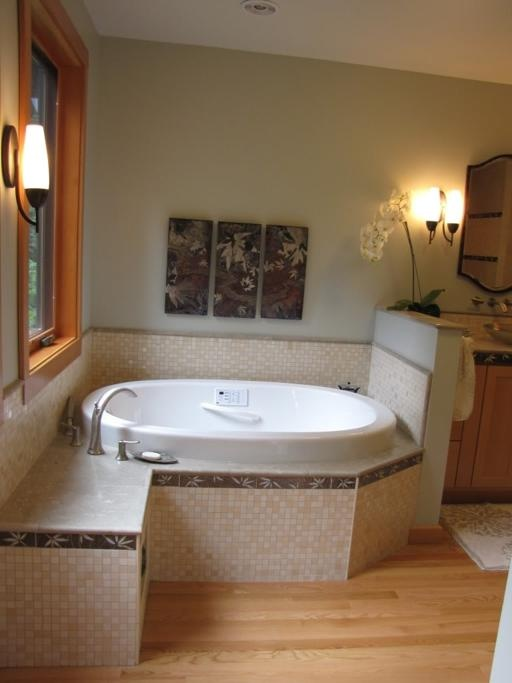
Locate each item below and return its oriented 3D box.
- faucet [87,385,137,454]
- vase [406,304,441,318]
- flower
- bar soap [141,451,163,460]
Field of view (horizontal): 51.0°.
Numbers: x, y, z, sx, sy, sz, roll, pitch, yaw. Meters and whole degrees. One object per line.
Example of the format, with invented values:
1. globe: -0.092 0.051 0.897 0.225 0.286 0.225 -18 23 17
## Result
1. faucet: -0.616 0.310 2.231 0.150 0.257 0.213 2 9 -18
2. vase: 1.017 -0.202 3.244 0.121 0.053 0.128 17 -6 15
3. flower: 0.910 -0.550 3.283 0.552 0.736 0.275 5 8 3
4. bar soap: -0.404 0.444 2.096 0.082 0.020 0.084 5 8 -3
